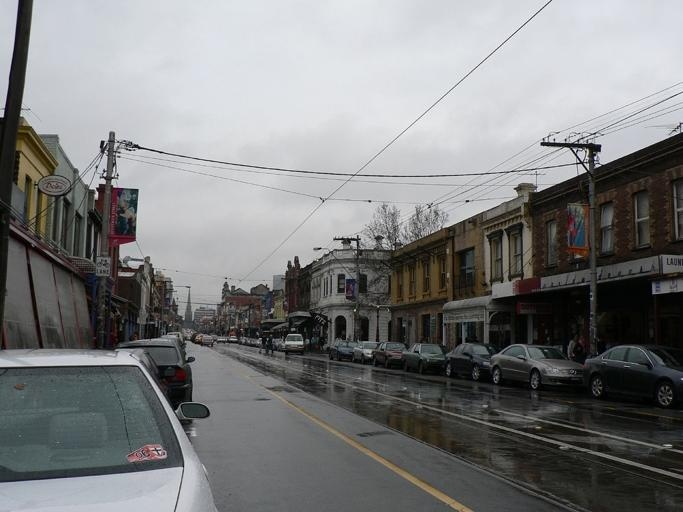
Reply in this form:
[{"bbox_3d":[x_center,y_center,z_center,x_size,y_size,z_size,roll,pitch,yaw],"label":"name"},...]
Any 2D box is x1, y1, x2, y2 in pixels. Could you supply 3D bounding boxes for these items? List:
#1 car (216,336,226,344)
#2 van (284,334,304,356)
[{"bbox_3d":[-23.851,16.474,128.746,2.061,1.870,3.679,3,-14,-14],"label":"car"},{"bbox_3d":[-4.559,8.405,62.092,1.260,1.394,2.793,0,-13,-5],"label":"van"}]
